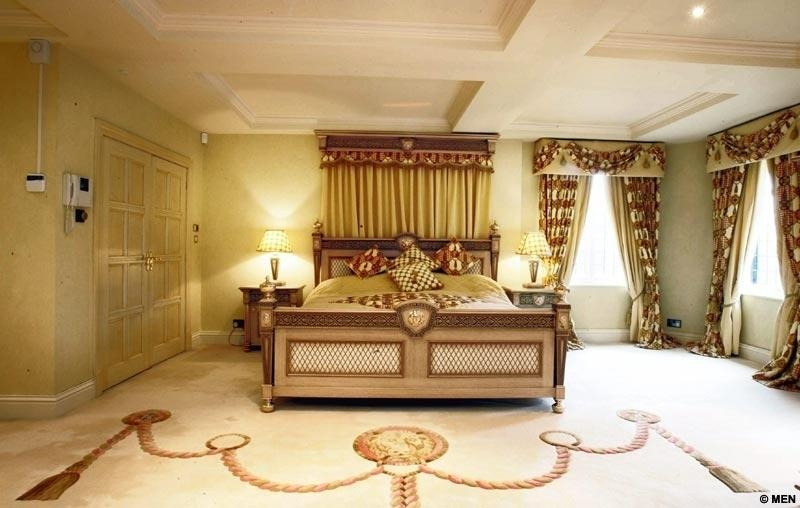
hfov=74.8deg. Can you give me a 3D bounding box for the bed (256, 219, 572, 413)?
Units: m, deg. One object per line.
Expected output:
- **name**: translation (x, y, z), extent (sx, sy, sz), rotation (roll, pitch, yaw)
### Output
- **bed**: translation (0.062, 0.709, 6.690), extent (2.366, 1.452, 2.296), rotation (0, -3, 0)

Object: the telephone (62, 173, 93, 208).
- **telephone**: translation (-3.523, -0.679, 5.721), extent (0.128, 0.335, 0.375), rotation (1, 2, -2)

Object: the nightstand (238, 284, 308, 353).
- **nightstand**: translation (-1.917, 1.050, 7.652), extent (0.940, 0.977, 0.775), rotation (-2, -28, -13)
